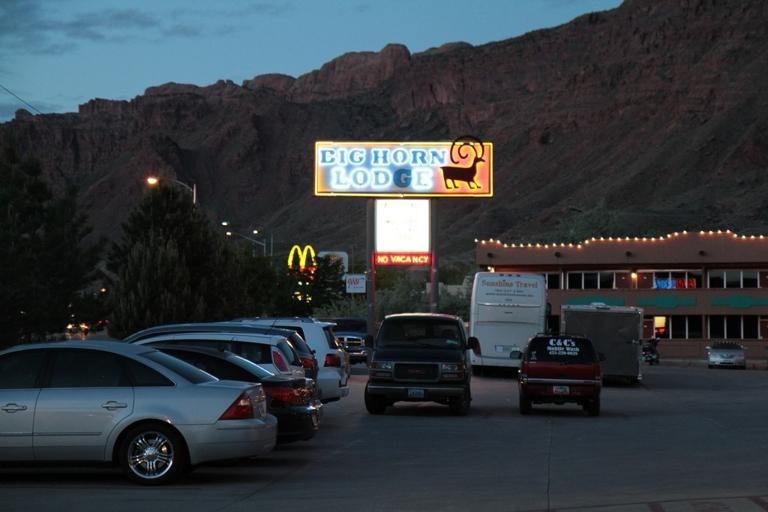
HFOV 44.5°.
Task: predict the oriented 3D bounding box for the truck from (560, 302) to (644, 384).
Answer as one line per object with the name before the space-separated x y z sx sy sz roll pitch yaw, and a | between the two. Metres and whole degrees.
truck | 9.595 3.587 40.625 3.849 3.205 3.770 0 -1 5

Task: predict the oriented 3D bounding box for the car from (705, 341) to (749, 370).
car | 21.628 6.370 59.676 2.107 1.454 2.973 -1 -4 16

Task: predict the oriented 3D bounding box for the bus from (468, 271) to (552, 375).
bus | 5.562 2.562 42.110 2.827 2.759 5.005 0 1 5

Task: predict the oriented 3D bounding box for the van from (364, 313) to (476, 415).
van | 1.360 3.043 29.441 3.303 2.728 5.970 0 1 7
